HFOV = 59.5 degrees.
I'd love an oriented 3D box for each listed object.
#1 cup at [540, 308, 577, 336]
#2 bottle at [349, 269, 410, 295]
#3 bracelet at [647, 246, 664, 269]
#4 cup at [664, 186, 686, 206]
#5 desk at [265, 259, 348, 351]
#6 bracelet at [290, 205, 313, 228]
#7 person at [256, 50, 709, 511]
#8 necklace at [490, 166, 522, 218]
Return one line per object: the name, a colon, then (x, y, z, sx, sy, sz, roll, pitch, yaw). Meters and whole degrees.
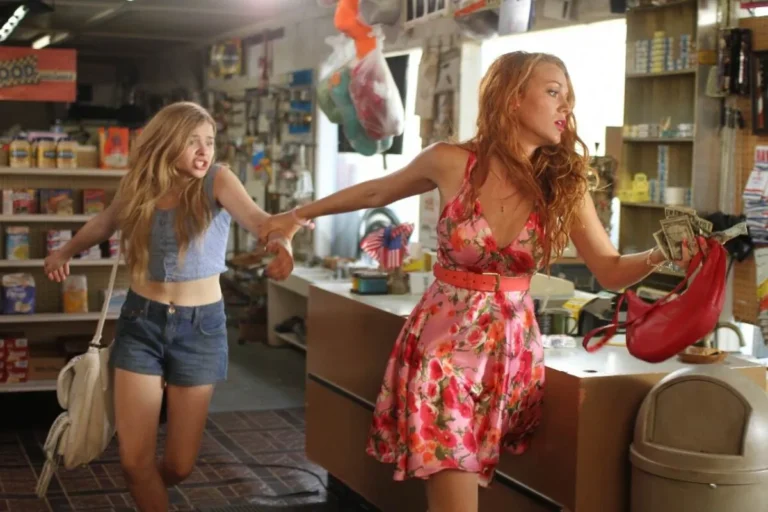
cup: (0.926, 0.363, 3.632, 0.221, 0.207, 0.112, 0, -6, -2)
bottle: (-0.049, 0.167, 4.313, 0.225, 0.091, 0.220, 1, 4, 0)
bracelet: (1.074, 0.016, 2.677, 0.032, 0.064, 0.081, 4, 26, 46)
cup: (2.432, -0.509, 5.716, 0.221, 0.157, 0.222, 1, 1, 0)
desk: (-0.993, 0.548, 8.115, 0.852, 1.468, 1.564, 0, 3, -23)
bracelet: (-0.384, -0.179, 3.013, 0.125, 0.108, 0.099, -4, 3, 11)
person: (0.397, 0.088, 2.722, 1.301, 1.824, 0.528, 1, 7, -6)
necklace: (0.466, -0.250, 2.627, 0.119, 0.178, 0.036, 5, -15, -4)
